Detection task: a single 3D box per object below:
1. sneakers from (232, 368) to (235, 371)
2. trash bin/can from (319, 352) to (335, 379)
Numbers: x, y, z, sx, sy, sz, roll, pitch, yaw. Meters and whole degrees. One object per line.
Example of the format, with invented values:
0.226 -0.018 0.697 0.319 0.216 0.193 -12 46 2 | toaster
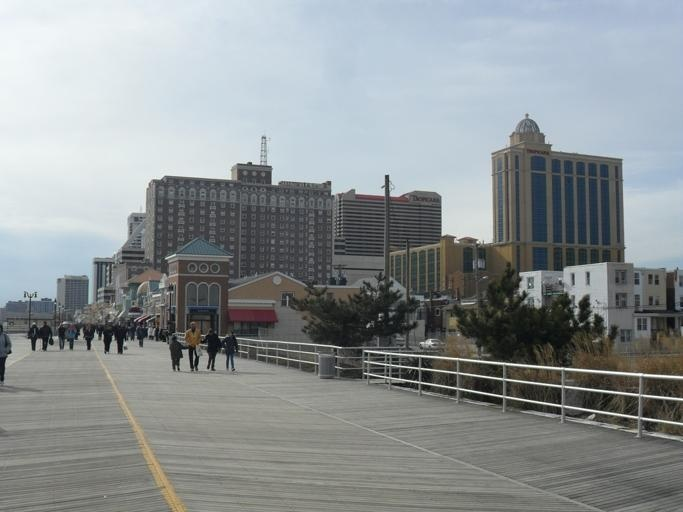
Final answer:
-4.258 4.477 37.272 0.129 0.051 0.143 -1 4 10 | sneakers
-0.474 3.851 32.935 0.589 1.111 0.739 -1 -4 4 | trash bin/can
